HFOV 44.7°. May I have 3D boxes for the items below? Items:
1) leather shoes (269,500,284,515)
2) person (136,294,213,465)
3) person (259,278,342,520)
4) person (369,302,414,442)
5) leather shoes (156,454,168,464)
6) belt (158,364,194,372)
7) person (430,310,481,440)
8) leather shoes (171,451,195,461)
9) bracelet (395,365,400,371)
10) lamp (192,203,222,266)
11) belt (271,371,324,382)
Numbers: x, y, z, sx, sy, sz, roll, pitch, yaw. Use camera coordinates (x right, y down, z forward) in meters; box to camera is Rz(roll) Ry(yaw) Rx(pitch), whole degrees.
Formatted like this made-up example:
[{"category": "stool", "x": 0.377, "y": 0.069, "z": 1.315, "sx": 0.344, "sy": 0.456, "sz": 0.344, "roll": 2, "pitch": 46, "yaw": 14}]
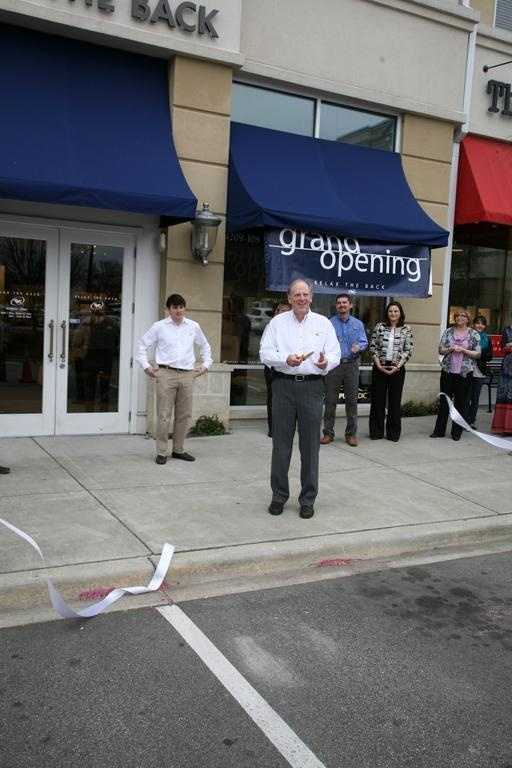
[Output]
[{"category": "leather shoes", "x": 0.168, "y": 1.048, "z": 5.273, "sx": 0.098, "sy": 0.121, "sz": 0.270, "roll": 0, "pitch": -1, "yaw": 3}, {"category": "person", "x": -0.925, "y": -0.067, "z": 7.086, "sx": 0.845, "sy": 1.867, "sz": 0.610, "roll": 1, "pitch": 5, "yaw": -23}, {"category": "person", "x": 0.351, "y": 0.118, "z": 5.253, "sx": 0.671, "sy": 1.957, "sz": 0.634, "roll": 2, "pitch": 1, "yaw": 15}, {"category": "person", "x": 1.864, "y": -0.174, "z": 8.824, "sx": 0.544, "sy": 1.945, "sz": 0.378, "roll": 4, "pitch": 5, "yaw": 10}, {"category": "leather shoes", "x": -1.041, "y": 0.831, "z": 6.863, "sx": 0.106, "sy": 0.072, "sz": 0.195, "roll": 0, "pitch": 0, "yaw": -3}, {"category": "belt", "x": -0.906, "y": -0.174, "z": 7.061, "sx": 0.388, "sy": 0.068, "sz": 0.114, "roll": 1, "pitch": 6, "yaw": -21}, {"category": "person", "x": 2.907, "y": -0.129, "z": 9.134, "sx": 0.570, "sy": 1.867, "sz": 0.685, "roll": 5, "pitch": 5, "yaw": 20}, {"category": "leather shoes", "x": -0.842, "y": 0.838, "z": 7.173, "sx": 0.276, "sy": 0.112, "sz": 0.101, "roll": 2, "pitch": 3, "yaw": 29}, {"category": "bracelet", "x": 1.942, "y": -0.214, "z": 8.654, "sx": 0.067, "sy": 0.070, "sz": 0.016, "roll": -6, "pitch": -12, "yaw": 38}, {"category": "lamp", "x": -0.680, "y": -1.945, "z": 8.193, "sx": 0.363, "sy": 0.762, "sz": 0.573, "roll": 3, "pitch": 5, "yaw": -4}, {"category": "belt", "x": 0.326, "y": -0.051, "z": 5.285, "sx": 0.424, "sy": 0.079, "sz": 0.196, "roll": 5, "pitch": 6, "yaw": 12}]
